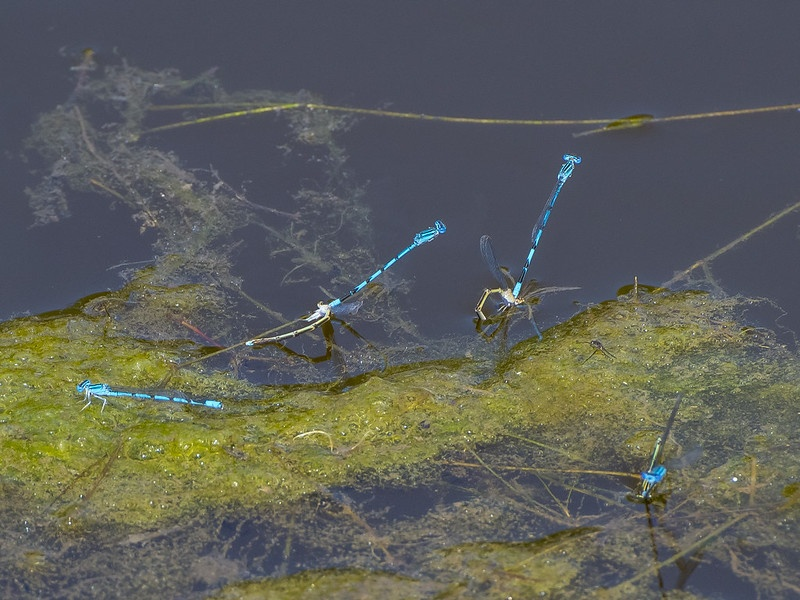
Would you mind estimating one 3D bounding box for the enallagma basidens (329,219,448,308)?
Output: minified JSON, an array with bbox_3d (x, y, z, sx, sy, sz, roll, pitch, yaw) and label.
[{"bbox_3d":[-0.124,-0.658,17.950,0.375,2.294,0.383,53,-11,-17],"label":"enallagma basidens"}]
